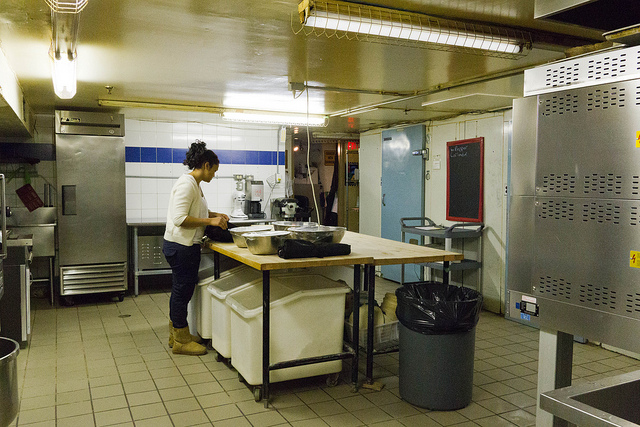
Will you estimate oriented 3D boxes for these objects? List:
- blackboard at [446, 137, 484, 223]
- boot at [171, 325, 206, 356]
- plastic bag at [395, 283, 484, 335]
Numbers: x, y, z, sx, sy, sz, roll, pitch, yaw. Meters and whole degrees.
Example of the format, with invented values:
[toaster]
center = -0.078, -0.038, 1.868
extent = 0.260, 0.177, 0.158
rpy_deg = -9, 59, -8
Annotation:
[blackboard]
center = 1.957, -0.458, 6.647
extent = 0.192, 1.117, 0.703
rpy_deg = -3, 10, -20
[boot]
center = -1.351, 1.281, 5.081
extent = 0.428, 0.310, 0.185
rpy_deg = 0, 1, -18
[plastic bag]
center = 0.986, 0.787, 4.152
extent = 0.683, 0.280, 0.556
rpy_deg = 1, 9, 9
